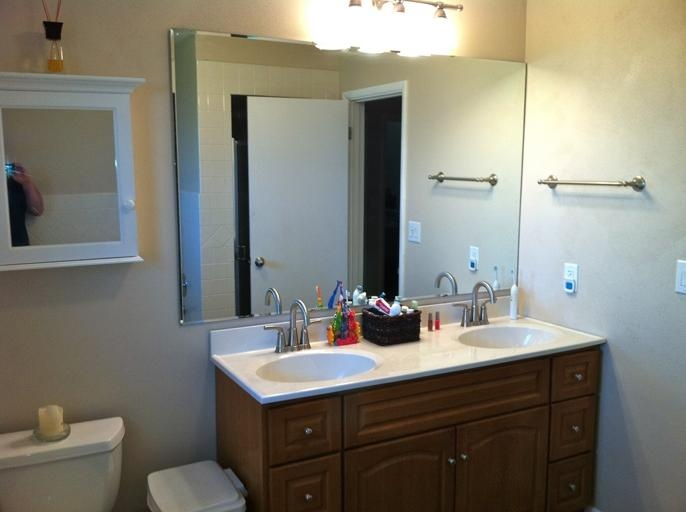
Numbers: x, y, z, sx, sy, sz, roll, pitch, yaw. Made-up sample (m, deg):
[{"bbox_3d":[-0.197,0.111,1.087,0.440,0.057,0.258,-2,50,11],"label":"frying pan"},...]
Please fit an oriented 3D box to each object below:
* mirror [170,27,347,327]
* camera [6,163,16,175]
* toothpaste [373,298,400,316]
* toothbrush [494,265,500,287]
[{"bbox_3d":[-0.459,-0.372,2.566,0.719,1.335,0.101,-5,10,-27],"label":"mirror"},{"bbox_3d":[-1.330,-0.347,2.110,0.042,0.043,0.026,1,6,-11],"label":"camera"},{"bbox_3d":[0.222,0.268,2.774,0.089,0.066,0.030,40,13,30],"label":"toothpaste"},{"bbox_3d":[0.920,0.126,3.171,0.047,0.142,0.013,-5,10,-28],"label":"toothbrush"}]
